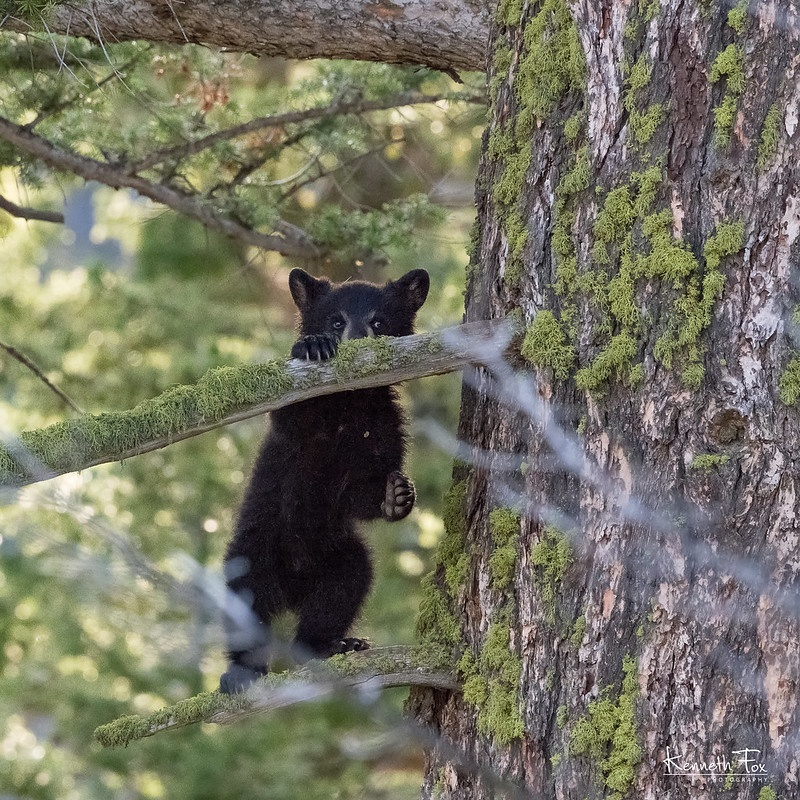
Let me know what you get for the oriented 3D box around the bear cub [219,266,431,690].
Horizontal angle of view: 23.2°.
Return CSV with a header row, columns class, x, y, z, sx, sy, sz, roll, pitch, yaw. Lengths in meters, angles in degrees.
class,x,y,z,sx,sy,sz,roll,pitch,yaw
bear cub,-0.352,0.539,8.448,0.573,2.090,0.897,4,11,-30
